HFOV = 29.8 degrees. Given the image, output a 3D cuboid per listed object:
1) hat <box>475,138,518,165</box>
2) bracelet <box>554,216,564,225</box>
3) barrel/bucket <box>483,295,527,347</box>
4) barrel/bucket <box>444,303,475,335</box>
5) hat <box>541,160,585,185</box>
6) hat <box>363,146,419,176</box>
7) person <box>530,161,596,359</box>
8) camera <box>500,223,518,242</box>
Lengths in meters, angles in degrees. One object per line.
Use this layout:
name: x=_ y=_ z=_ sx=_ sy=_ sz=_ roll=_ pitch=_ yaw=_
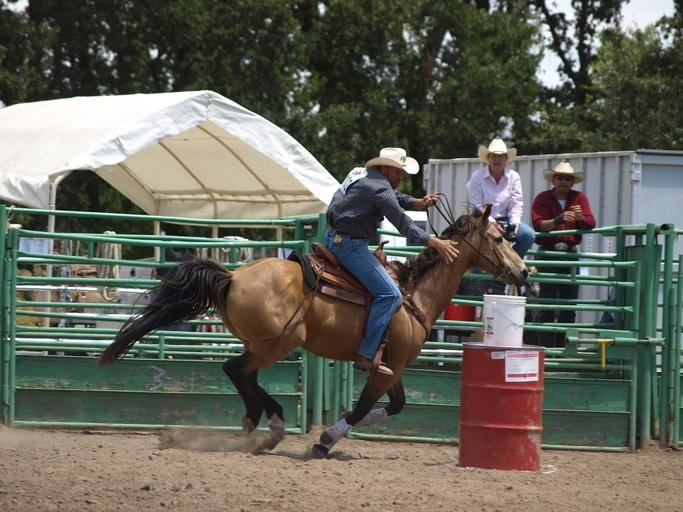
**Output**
hat: x=2.453 y=-1.697 z=20.024 sx=0.580 sy=0.211 sz=0.580 roll=0 pitch=-11 yaw=2
bracelet: x=3.355 y=-0.540 z=19.590 sx=0.130 sy=0.030 sz=0.125 roll=-29 pitch=30 yaw=8
barrel/bucket: x=2.348 y=0.949 z=18.469 sx=0.864 sy=0.637 sz=0.719 roll=1 pitch=-3 yaw=-3
barrel/bucket: x=2.018 y=1.045 z=21.362 sx=0.524 sy=0.297 sz=0.455 roll=2 pitch=-6 yaw=-1
hat: x=3.715 y=-1.366 z=21.246 sx=0.565 sy=0.192 sz=0.547 roll=5 pitch=-17 yaw=5
hat: x=0.770 y=-1.344 z=18.274 sx=0.616 sy=0.227 sz=0.448 roll=2 pitch=-1 yaw=14
person: x=3.481 y=-0.054 z=20.081 sx=0.958 sy=2.951 sz=1.376 roll=0 pitch=-3 yaw=7
camera: x=2.515 y=-0.328 z=19.255 sx=0.228 sy=0.242 sz=0.128 roll=3 pitch=4 yaw=23
